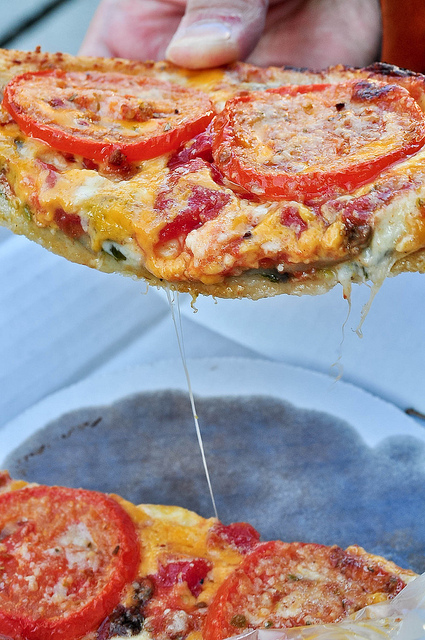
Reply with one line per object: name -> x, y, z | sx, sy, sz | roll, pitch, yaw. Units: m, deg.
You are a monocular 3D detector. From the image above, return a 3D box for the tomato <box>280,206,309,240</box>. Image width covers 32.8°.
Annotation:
tomato -> 0.168, -0.196, 1.469 | 0.055, 0.064, 0.017 | -19, 4, 26

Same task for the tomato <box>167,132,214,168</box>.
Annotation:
tomato -> -0.052, -0.398, 1.695 | 0.117, 0.041, 0.108 | -11, 35, 2

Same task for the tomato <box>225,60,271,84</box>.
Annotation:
tomato -> 0.098, -0.738, 2.142 | 0.149, 0.034, 0.080 | 19, 63, 37
